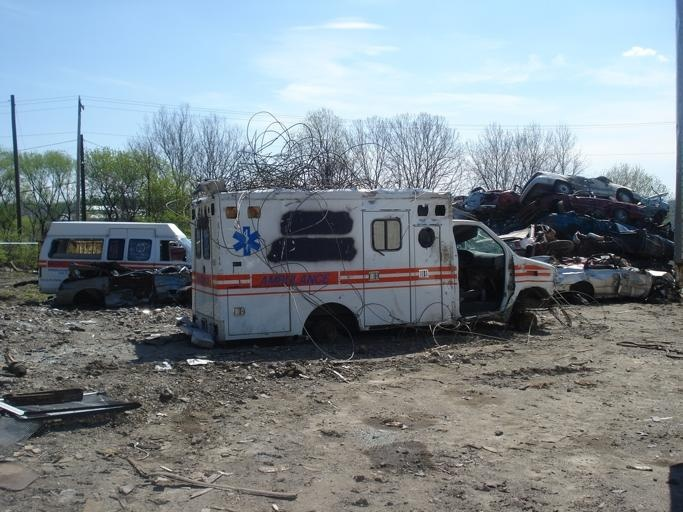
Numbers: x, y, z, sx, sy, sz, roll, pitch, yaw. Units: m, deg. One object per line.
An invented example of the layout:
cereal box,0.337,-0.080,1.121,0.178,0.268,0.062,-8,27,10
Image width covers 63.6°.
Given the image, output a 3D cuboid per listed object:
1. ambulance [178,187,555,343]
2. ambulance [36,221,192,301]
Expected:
ambulance,0.733,0.135,10.896,7.202,2.488,2.206,-2,-2,-23
ambulance,-5.498,0.123,16.203,6.142,2.393,2.624,0,3,18
